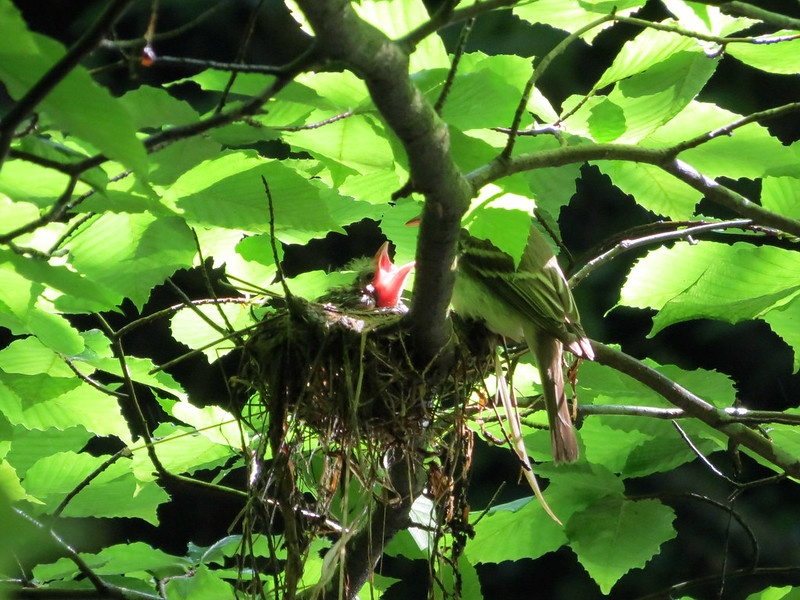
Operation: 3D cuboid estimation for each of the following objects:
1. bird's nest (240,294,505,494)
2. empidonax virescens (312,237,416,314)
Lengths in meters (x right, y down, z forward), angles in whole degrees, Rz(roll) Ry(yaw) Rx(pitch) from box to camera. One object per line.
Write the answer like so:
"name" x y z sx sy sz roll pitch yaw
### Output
"bird's nest" -0.137 0.219 3.376 0.537 0.552 0.306 16 -63 -2
"empidonax virescens" -0.109 -0.051 3.948 0.272 0.117 0.267 5 -18 -28
